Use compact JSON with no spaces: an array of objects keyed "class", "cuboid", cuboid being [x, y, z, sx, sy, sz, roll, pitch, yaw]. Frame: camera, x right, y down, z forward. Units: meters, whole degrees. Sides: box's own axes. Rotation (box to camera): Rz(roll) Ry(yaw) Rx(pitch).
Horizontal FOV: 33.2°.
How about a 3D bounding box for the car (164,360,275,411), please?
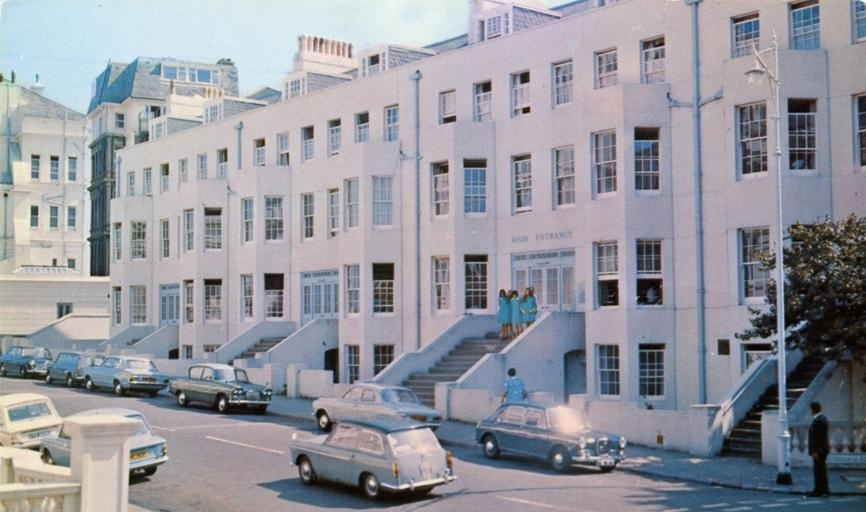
[{"class":"car","cuboid":[-11.796,7.494,81.270,5.452,2.790,1.580,-4,-9,23]}]
